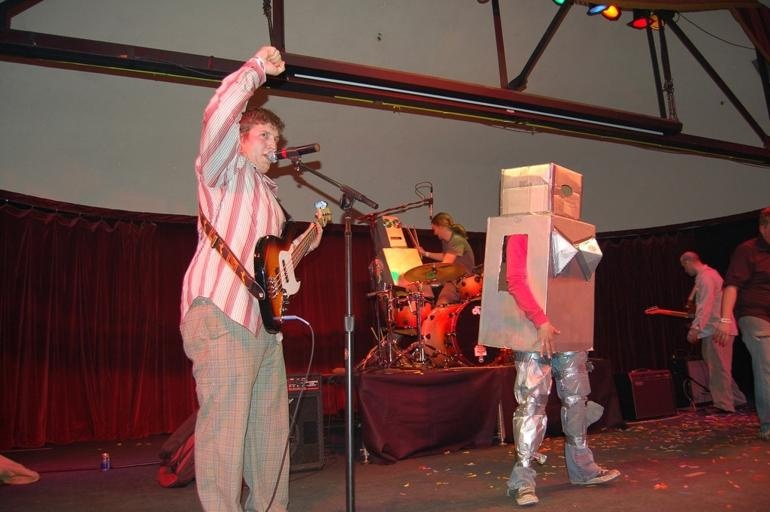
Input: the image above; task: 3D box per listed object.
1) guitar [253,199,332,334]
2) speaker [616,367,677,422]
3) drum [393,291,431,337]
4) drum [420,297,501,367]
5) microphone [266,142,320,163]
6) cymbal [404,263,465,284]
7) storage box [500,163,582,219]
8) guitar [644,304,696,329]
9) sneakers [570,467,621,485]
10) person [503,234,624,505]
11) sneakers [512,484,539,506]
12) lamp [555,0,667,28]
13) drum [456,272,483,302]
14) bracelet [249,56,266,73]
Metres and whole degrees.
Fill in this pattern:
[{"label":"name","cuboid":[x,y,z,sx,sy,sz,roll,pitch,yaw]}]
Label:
[{"label":"guitar","cuboid":[-0.740,0.075,5.084,0.134,0.536,1.164,-7,36,22]},{"label":"speaker","cuboid":[3.612,1.916,8.456,0.716,0.676,0.433,1,-14,-22]},{"label":"drum","cuboid":[0.287,0.783,7.941,0.500,0.490,0.510,7,-13,-23]},{"label":"drum","cuboid":[1.045,0.943,7.936,0.846,0.962,0.628,-11,6,-32]},{"label":"microphone","cuboid":[-0.768,-0.883,5.171,0.505,0.154,0.161,-7,6,13]},{"label":"cymbal","cuboid":[0.609,0.210,7.605,0.403,0.101,0.421,9,-34,-17]},{"label":"storage box","cuboid":[1.537,-0.608,5.973,0.782,0.433,0.792,5,-2,-17]},{"label":"guitar","cuboid":[4.745,0.950,9.885,0.902,0.166,0.473,5,0,-21]},{"label":"sneakers","cuboid":[2.047,2.135,5.929,0.479,0.220,0.186,-6,-7,2]},{"label":"person","cuboid":[1.566,1.010,5.744,0.968,2.466,0.438,-3,2,-23]},{"label":"sneakers","cuboid":[1.307,2.179,5.592,0.226,0.167,0.218,-2,2,4]},{"label":"lamp","cuboid":[3.228,-3.486,8.716,1.550,0.359,0.492,20,30,29]},{"label":"drum","cuboid":[1.106,0.411,7.959,0.295,0.243,0.320,-15,-27,-8]},{"label":"bracelet","cuboid":[-1.048,-1.561,4.951,0.120,0.097,0.048,21,-41,-16]}]
